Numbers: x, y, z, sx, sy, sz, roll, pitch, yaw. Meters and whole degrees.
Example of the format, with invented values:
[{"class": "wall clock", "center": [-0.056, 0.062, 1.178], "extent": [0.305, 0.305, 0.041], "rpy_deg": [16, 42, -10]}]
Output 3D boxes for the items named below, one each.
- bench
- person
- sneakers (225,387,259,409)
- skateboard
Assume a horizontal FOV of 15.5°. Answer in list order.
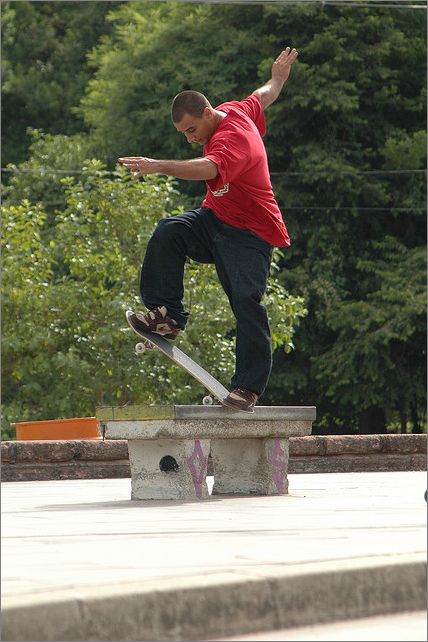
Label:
[{"class": "bench", "center": [0.035, 0.890, 10.296], "extent": [0.591, 0.620, 1.544], "rpy_deg": [-1, -3, 38]}, {"class": "person", "center": [0.056, -0.448, 9.977], "extent": [1.132, 2.036, 0.764], "rpy_deg": [-4, 9, -24]}, {"class": "sneakers", "center": [0.209, 0.508, 9.949], "extent": [0.225, 0.156, 0.148], "rpy_deg": [-2, 8, -14]}, {"class": "skateboard", "center": [-0.152, 0.324, 12.919], "extent": [1.109, 0.166, 0.267], "rpy_deg": [43, 23, 3]}]
